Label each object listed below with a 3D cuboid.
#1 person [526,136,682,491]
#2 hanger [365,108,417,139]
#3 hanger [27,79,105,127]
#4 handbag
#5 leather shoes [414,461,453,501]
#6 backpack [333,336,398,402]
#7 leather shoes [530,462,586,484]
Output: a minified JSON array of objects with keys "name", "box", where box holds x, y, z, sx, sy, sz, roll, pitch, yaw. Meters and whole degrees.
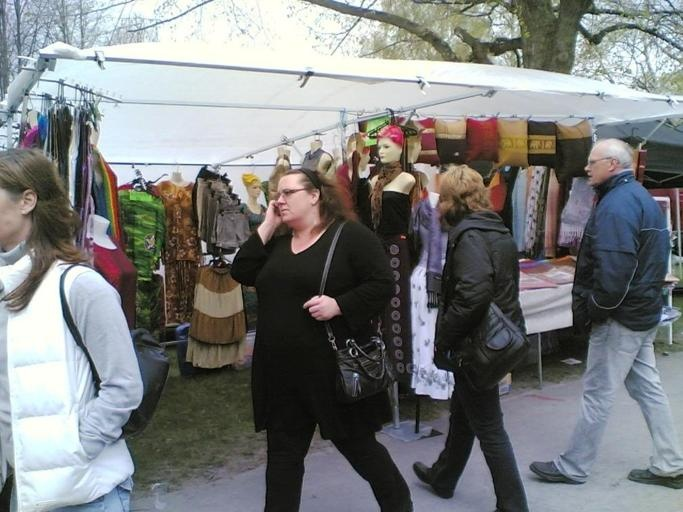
[{"name":"person","box":[1.738,0.353,4.075,0.831,2.188,0.478,-1,7,13]},{"name":"hanger","box":[0.391,-1.095,5.208,0.325,0.089,0.316,-27,20,-32]},{"name":"hanger","box":[-1.863,-1.031,4.252,0.464,0.227,0.672,2,5,1]},{"name":"handbag","box":[0.820,0.494,3.515,0.412,0.448,0.180,0,7,14]},{"name":"leather shoes","box":[0.558,1.416,4.073,0.109,0.159,0.332,-15,28,-20]},{"name":"backpack","box":[0.107,0.550,3.215,0.327,0.299,0.171,-7,8,-32]},{"name":"leather shoes","box":[1.396,1.395,4.113,0.325,0.165,0.128,9,-2,14]}]
